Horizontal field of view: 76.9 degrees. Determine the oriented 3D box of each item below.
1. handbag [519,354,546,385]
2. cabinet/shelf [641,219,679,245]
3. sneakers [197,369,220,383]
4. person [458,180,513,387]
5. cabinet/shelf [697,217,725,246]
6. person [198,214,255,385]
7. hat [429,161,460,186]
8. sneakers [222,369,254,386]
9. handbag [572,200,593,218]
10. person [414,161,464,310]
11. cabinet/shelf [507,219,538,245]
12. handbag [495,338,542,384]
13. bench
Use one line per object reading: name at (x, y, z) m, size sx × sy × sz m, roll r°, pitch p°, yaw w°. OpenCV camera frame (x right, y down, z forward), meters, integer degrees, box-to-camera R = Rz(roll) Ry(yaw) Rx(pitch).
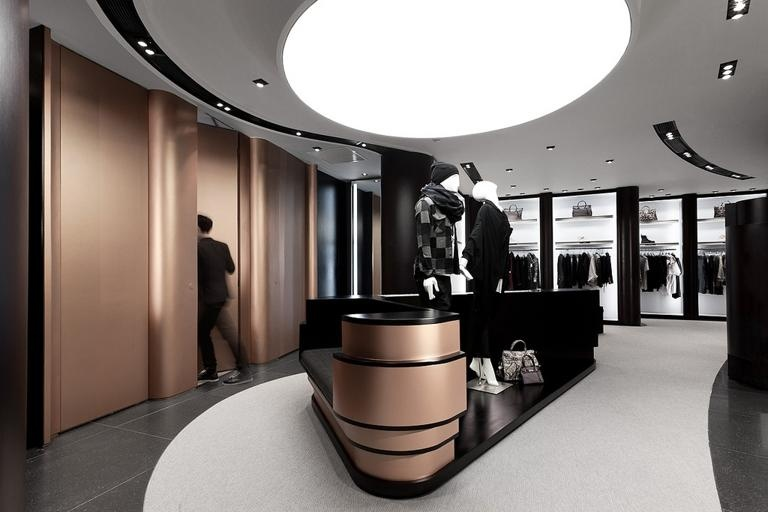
handbag at (1.530, 1.190, 5.061) m, size 0.213 × 0.305 × 0.118 m, roll -4°, pitch -19°, yaw -6°
cabinet/shelf at (6.133, -0.524, 10.680) m, size 0.516 × 0.467 × 0.169 m, roll -2°, pitch -6°, yaw 34°
sneakers at (-2.146, 1.452, 5.881) m, size 0.266 × 0.127 × 0.097 m, roll 10°, pitch -15°, yaw -32°
person at (1.031, 0.281, 4.966) m, size 0.459 × 2.021 × 0.604 m, roll 2°, pitch 13°, yaw 16°
cabinet/shelf at (7.085, -0.534, 10.443) m, size 0.606 × 0.619 × 0.335 m, roll -2°, pitch -2°, yaw 39°
person at (-2.100, 0.483, 5.991) m, size 0.420 × 1.963 × 0.702 m, roll -3°, pitch 12°, yaw -6°
hat at (0.594, -0.824, 4.850) m, size 0.243 × 0.217 × 0.186 m, roll 4°, pitch -1°, yaw 11°
sneakers at (-1.812, 1.492, 5.935) m, size 0.281 × 0.117 × 0.163 m, roll 4°, pitch -8°, yaw -19°
handbag at (4.308, -1.007, 10.530) m, size 0.380 × 0.350 × 0.275 m, roll 3°, pitch 13°, yaw 20°
person at (0.518, -0.197, 4.666) m, size 0.410 × 1.356 × 0.655 m, roll 3°, pitch 13°, yaw 19°
cabinet/shelf at (3.027, -0.533, 10.444) m, size 0.713 × 0.704 × 0.230 m, roll 0°, pitch 1°, yaw 35°
handbag at (1.441, 1.129, 5.171) m, size 0.420 × 0.442 × 0.263 m, roll 1°, pitch -19°, yaw -2°
bench at (0.207, 1.044, 4.836) m, size 1.085 × 1.306 × 2.559 m, roll -1°, pitch 3°, yaw 5°
